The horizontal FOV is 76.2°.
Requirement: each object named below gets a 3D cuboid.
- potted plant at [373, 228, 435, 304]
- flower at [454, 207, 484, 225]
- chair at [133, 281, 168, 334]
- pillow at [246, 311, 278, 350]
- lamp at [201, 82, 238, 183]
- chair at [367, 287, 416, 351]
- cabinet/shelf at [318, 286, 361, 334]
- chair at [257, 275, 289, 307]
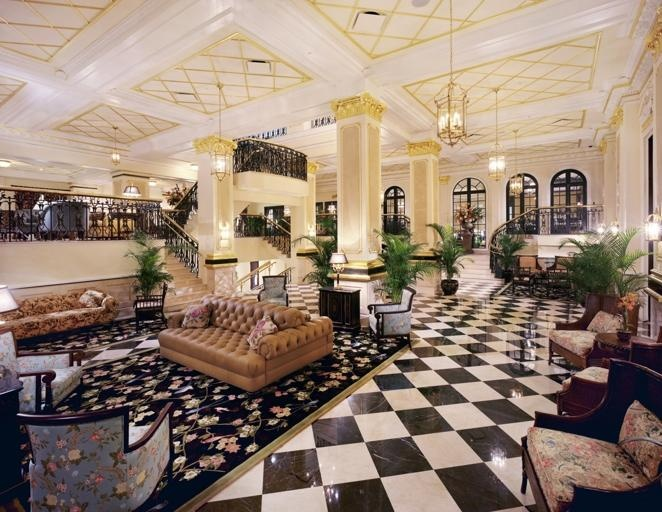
[{"bbox_3d":[1.701,0.231,10.135,1.622,1.690,1.694,0,1,36],"label":"potted plant"},{"bbox_3d":[5.367,-1.555,16.843,0.882,0.572,0.852,-2,2,-24],"label":"flower"},{"bbox_3d":[-4.170,1.172,9.778,0.967,1.045,0.922,0,3,2],"label":"chair"},{"bbox_3d":[-1.043,1.138,6.389,0.143,0.470,0.428,36,24,-27],"label":"pillow"},{"bbox_3d":[-2.790,-3.056,10.449,0.918,2.381,0.884,1,2,23],"label":"lamp"},{"bbox_3d":[1.123,1.149,8.016,0.898,0.870,0.929,4,8,36],"label":"chair"},{"bbox_3d":[0.163,1.137,8.534,0.920,0.848,0.520,2,5,33],"label":"cabinet/shelf"},{"bbox_3d":[-1.410,0.888,10.448,0.706,0.916,0.752,0,-1,1],"label":"chair"}]
